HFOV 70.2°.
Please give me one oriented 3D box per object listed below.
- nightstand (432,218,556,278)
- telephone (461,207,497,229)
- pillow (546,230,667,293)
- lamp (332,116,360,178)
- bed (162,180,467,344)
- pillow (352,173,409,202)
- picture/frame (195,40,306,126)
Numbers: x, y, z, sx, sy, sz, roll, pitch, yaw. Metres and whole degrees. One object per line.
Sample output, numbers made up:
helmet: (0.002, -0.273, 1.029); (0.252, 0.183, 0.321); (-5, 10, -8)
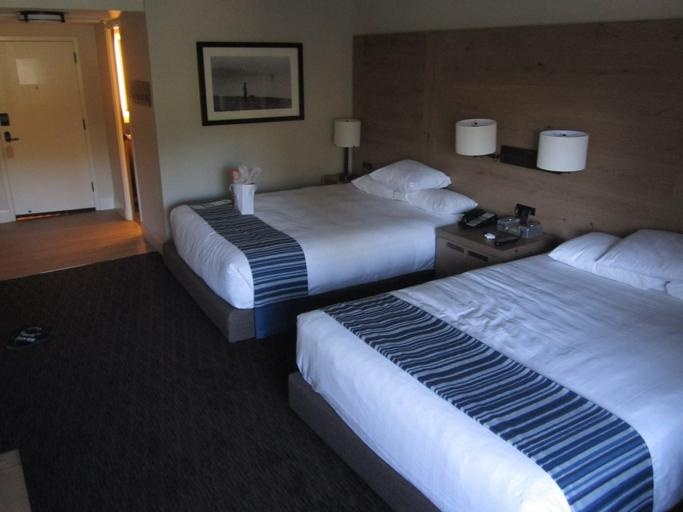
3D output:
nightstand: (1.276, -0.204, 4.208); (0.532, 0.671, 0.728); (-13, 26, -24)
telephone: (1.264, -0.348, 4.470); (0.266, 0.097, 0.196); (-16, 23, -24)
pillow: (1.846, 0.029, 3.484); (0.406, 0.120, 0.534); (16, 29, 36)
lamp: (0.074, -1.347, 6.138); (0.351, 0.722, 0.492); (-2, 21, 0)
bed: (-0.197, -0.109, 4.244); (1.743, 0.439, 1.677); (-13, 25, -28)
pillow: (0.388, -0.740, 5.319); (0.316, 0.098, 0.483); (-25, 32, -28)
picture/frame: (-1.086, -1.973, 5.504); (1.143, 0.744, 0.047); (-9, 21, -26)
